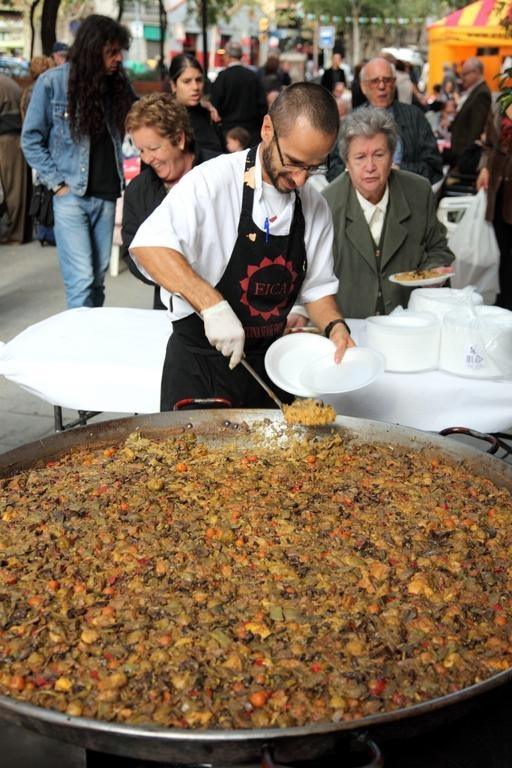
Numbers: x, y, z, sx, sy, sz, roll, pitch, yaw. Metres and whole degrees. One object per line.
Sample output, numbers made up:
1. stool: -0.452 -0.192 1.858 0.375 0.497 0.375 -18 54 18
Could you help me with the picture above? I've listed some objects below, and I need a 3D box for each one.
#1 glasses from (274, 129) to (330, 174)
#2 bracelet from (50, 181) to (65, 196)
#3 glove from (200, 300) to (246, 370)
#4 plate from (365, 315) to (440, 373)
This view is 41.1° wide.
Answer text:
1. glasses: 0.131 -0.732 2.158 0.140 0.134 0.042 -9 -16 -34
2. bracelet: -1.493 -1.472 5.139 0.100 0.054 0.070 -6 -13 10
3. glove: -0.108 -0.149 2.147 0.133 0.219 0.145 -1 21 -6
4. plate: 0.556 -0.168 2.622 0.265 0.175 0.291 -5 21 -17
